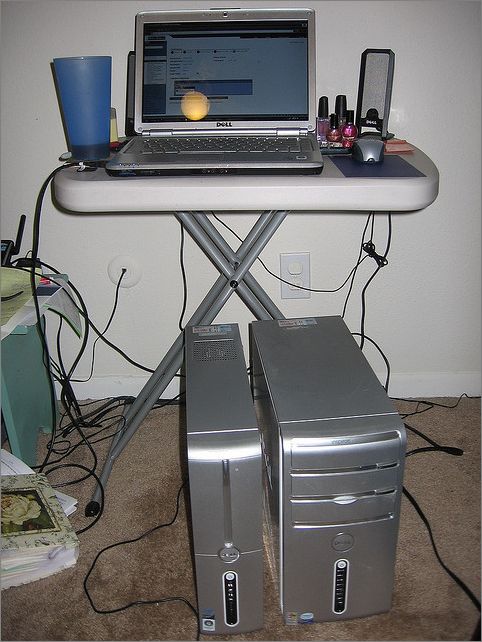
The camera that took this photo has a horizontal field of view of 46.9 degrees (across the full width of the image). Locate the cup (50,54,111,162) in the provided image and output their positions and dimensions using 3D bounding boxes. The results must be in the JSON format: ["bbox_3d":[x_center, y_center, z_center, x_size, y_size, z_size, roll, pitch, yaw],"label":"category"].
[{"bbox_3d":[-0.303,-0.402,1.076,0.113,0.180,0.118,-3,14,1],"label":"cup"}]

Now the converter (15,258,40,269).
[{"bbox_3d":[-0.547,-0.146,1.419,0.038,0.019,0.056,0,12,-13],"label":"converter"}]
